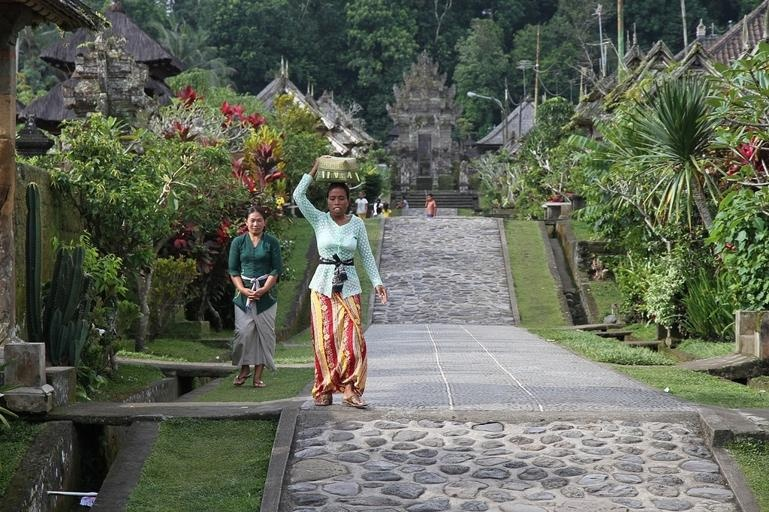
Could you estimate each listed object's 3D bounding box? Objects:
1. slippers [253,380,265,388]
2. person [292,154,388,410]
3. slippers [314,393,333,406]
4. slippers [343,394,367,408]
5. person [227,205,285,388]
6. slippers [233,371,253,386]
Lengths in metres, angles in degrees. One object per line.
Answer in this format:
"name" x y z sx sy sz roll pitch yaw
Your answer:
"slippers" -1.762 1.825 10.466 0.179 0.073 0.265 -3 7 -15
"person" -0.522 0.274 8.609 0.888 2.848 0.915 -3 7 -7
"slippers" -0.697 1.654 8.462 0.112 0.118 0.282 0 -11 5
"slippers" -0.325 1.674 8.439 0.238 0.093 0.130 2 2 20
"person" -1.838 0.578 10.568 0.622 2.522 0.526 2 8 25
"slippers" -2.040 1.750 10.701 0.138 0.096 0.354 -19 24 25
